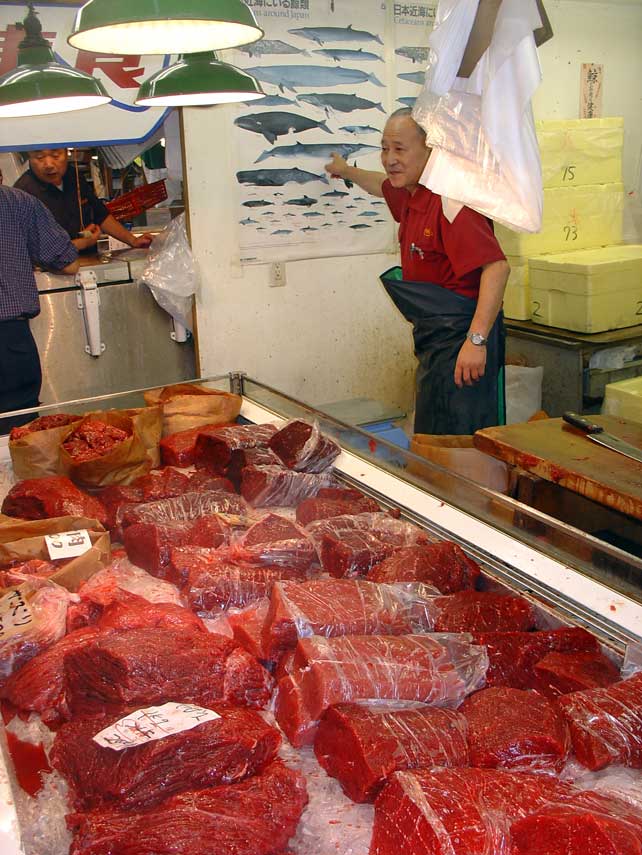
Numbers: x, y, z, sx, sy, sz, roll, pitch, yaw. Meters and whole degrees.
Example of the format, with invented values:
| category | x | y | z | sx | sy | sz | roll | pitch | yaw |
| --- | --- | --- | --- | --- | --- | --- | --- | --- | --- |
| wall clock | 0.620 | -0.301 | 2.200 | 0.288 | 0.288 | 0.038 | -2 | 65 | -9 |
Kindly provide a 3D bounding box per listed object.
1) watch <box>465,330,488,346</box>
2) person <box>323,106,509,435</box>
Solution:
| category | x | y | z | sx | sy | sz | roll | pitch | yaw |
| --- | --- | --- | --- | --- | --- | --- | --- | --- | --- |
| watch | 0.625 | -0.348 | 2.645 | 0.076 | 0.046 | 0.072 | 18 | 11 | 37 |
| person | 0.513 | -0.660 | 2.879 | 0.510 | 1.360 | 1.260 | -4 | 16 | -6 |
